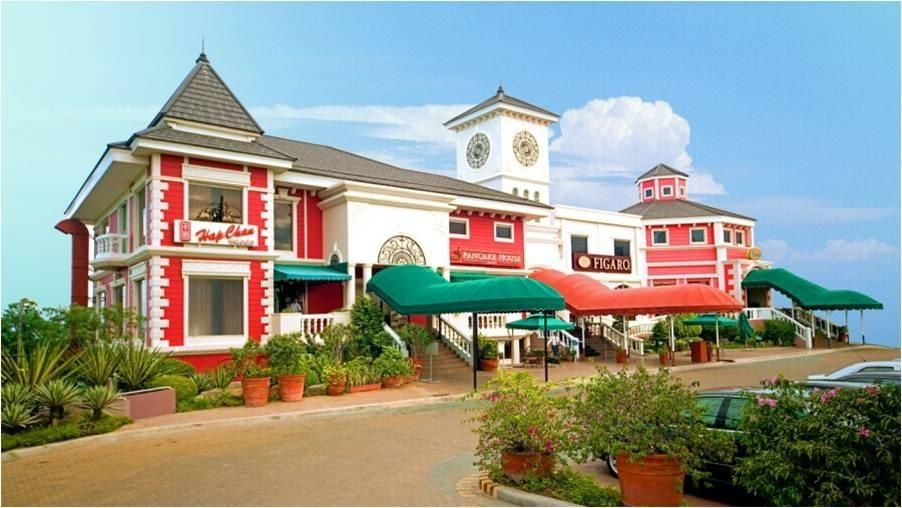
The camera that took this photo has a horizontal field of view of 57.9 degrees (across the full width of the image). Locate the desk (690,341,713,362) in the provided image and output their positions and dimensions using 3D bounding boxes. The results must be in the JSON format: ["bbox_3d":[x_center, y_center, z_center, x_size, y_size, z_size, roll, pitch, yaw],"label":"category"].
[{"bbox_3d":[15.130,5.912,49.327,0.788,1.207,1.365,-2,-2,-3],"label":"desk"}]

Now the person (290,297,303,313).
[{"bbox_3d":[-8.292,2.746,43.680,0.579,0.756,0.843,-2,8,-9],"label":"person"}]

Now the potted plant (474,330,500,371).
[{"bbox_3d":[2.106,5.623,45.723,1.246,1.708,1.397,0,-6,-34],"label":"potted plant"}]

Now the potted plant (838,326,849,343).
[{"bbox_3d":[29.050,5.877,60.303,0.597,1.096,1.520,3,9,24],"label":"potted plant"}]

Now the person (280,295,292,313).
[{"bbox_3d":[-8.846,2.668,43.498,0.668,0.617,1.095,5,36,-6],"label":"person"}]
